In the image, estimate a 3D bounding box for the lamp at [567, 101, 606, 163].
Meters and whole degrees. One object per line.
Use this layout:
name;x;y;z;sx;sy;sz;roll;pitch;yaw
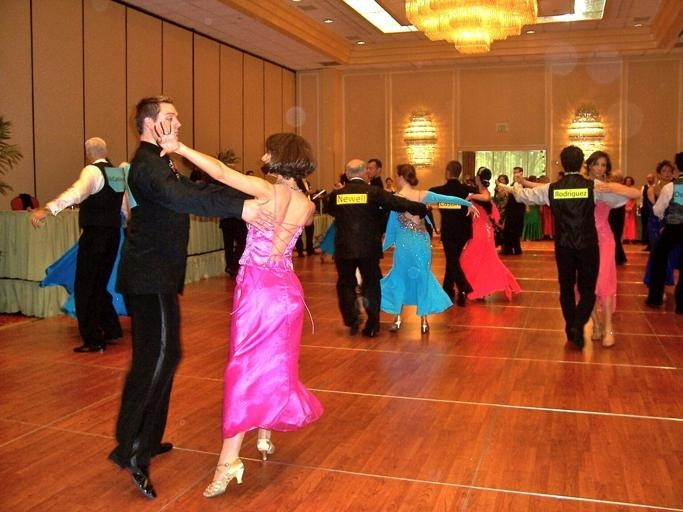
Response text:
lamp;7.113;-3.670;15.014;0.930;1.533;0.914;-4;19;10

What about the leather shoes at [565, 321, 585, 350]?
leather shoes;2.286;0.797;5.077;0.106;0.391;0.166;0;41;10

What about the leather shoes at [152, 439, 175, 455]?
leather shoes;-1.079;1.183;3.140;0.043;0.056;0.134;27;17;17

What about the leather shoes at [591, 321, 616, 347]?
leather shoes;2.694;0.780;5.312;0.217;0.224;0.411;3;12;28

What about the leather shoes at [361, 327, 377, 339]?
leather shoes;0.310;0.824;5.629;0.173;0.098;0.144;-2;10;6

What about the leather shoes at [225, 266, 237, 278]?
leather shoes;-2.017;0.300;9.541;0.204;0.225;0.071;3;6;18

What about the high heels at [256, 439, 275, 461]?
high heels;-0.468;1.171;3.129;0.053;0.075;0.167;0;15;-4

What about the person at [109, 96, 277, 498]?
person;-0.913;0.209;2.780;0.818;2.108;0.453;-3;10;-5

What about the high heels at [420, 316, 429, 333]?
high heels;0.944;0.748;5.838;0.104;0.180;0.350;-1;11;10

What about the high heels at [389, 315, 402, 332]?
high heels;0.623;0.829;5.943;0.120;0.271;0.078;8;0;-16
